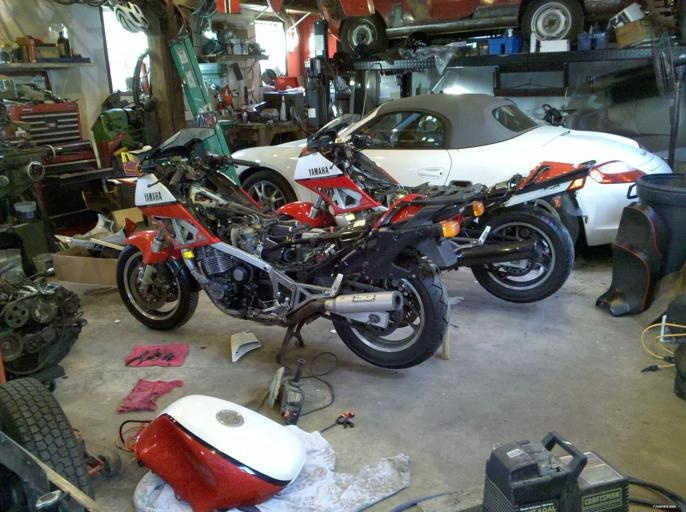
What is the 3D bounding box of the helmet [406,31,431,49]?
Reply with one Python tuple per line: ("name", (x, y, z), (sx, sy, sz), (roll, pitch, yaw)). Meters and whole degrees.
("helmet", (1.223, -3.568, 7.882), (0.391, 0.306, 0.599), (-2, 18, 12))
